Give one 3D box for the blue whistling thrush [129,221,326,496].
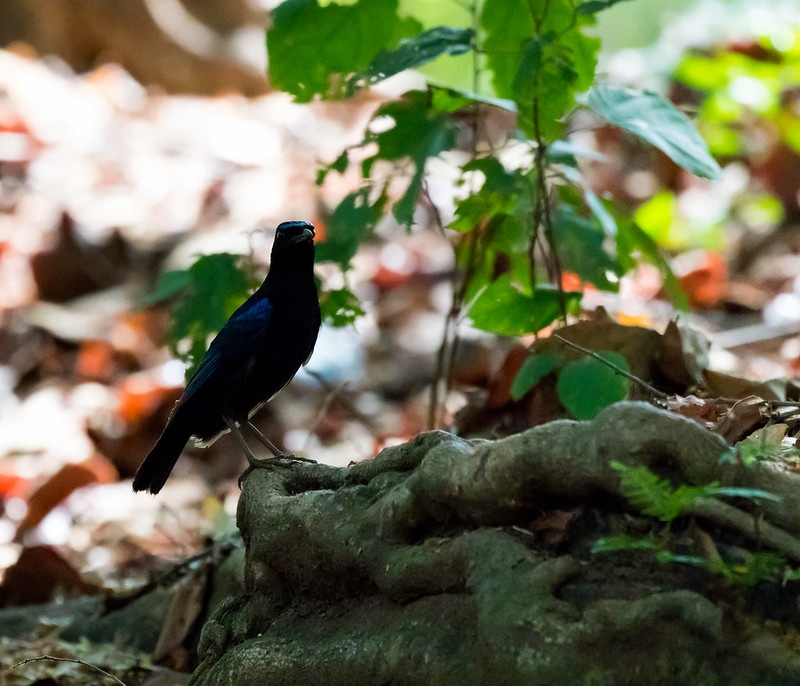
[{"bbox_3d":[-0.638,0.087,4.745,0.405,1.160,0.634,29,-29,-25],"label":"blue whistling thrush"}]
